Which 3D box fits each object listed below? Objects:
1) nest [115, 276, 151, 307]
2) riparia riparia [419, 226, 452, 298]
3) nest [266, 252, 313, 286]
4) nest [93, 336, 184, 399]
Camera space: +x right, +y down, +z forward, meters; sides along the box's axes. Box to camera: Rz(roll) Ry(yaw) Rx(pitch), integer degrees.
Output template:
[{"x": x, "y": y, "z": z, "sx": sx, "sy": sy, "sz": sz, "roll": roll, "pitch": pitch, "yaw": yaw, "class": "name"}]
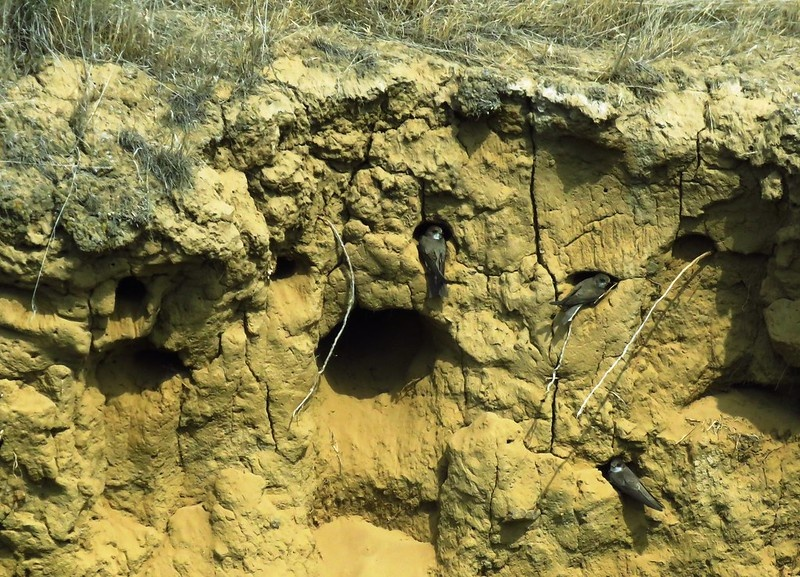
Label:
[{"x": -1.956, "y": 0.019, "z": 10.539, "sx": 0.233, "sy": 0.211, "sz": 0.155, "roll": 6, "pitch": 5, "yaw": -4, "class": "nest"}, {"x": 0.249, "y": -0.232, "z": 11.205, "sx": 0.173, "sy": 0.613, "sz": 0.235, "roll": -5, "pitch": 0, "yaw": -11, "class": "riparia riparia"}, {"x": -0.848, "y": -0.184, "z": 11.191, "sx": 0.240, "sy": 0.098, "sz": 0.205, "roll": -19, "pitch": 44, "yaw": 4, "class": "nest"}, {"x": -1.999, "y": 0.613, "z": 10.884, "sx": 0.466, "sy": 0.156, "sz": 0.492, "roll": 7, "pitch": 28, "yaw": -37, "class": "nest"}]
